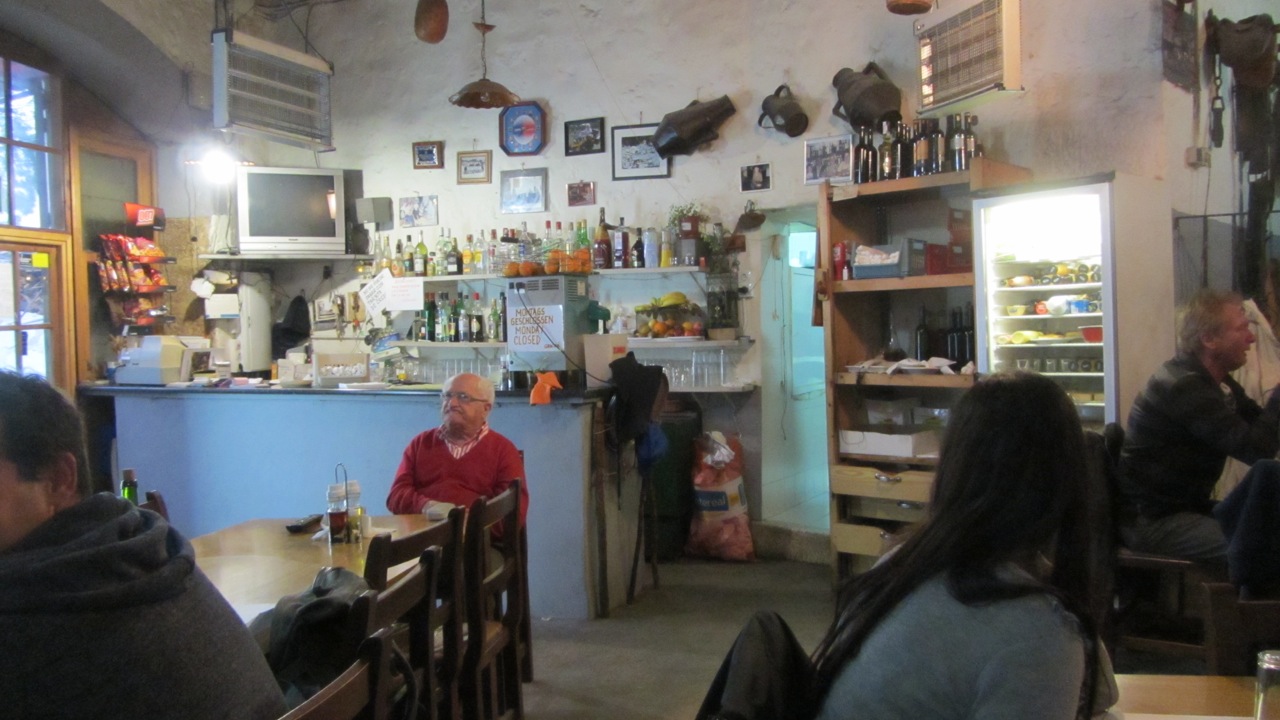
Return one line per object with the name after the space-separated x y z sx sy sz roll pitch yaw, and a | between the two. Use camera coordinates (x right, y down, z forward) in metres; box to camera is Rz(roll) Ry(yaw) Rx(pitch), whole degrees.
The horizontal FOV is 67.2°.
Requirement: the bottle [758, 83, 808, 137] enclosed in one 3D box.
1.181 -2.069 8.030 0.437 0.437 0.279 -1 3 12 | bottle

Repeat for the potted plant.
0.579 -0.766 8.326 0.660 1.182 0.300 -1 3 28 | potted plant

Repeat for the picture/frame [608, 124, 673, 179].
0.029 -1.848 8.571 0.597 0.453 0.041 0 0 21 | picture/frame

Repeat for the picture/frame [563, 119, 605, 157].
-0.500 -2.019 8.796 0.398 0.292 0.029 3 3 22 | picture/frame

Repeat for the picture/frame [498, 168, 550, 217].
-1.070 -1.560 9.035 0.533 0.392 0.051 2 2 23 | picture/frame

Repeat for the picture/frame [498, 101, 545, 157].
-1.082 -2.142 8.933 0.579 0.513 0.037 2 3 24 | picture/frame

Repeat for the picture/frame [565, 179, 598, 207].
-0.526 -1.520 8.832 0.296 0.193 0.039 2 1 22 | picture/frame

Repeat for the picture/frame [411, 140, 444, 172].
-2.066 -1.981 9.398 0.355 0.259 0.034 2 3 17 | picture/frame

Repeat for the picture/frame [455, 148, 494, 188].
-1.572 -1.832 9.234 0.448 0.334 0.043 1 2 16 | picture/frame
